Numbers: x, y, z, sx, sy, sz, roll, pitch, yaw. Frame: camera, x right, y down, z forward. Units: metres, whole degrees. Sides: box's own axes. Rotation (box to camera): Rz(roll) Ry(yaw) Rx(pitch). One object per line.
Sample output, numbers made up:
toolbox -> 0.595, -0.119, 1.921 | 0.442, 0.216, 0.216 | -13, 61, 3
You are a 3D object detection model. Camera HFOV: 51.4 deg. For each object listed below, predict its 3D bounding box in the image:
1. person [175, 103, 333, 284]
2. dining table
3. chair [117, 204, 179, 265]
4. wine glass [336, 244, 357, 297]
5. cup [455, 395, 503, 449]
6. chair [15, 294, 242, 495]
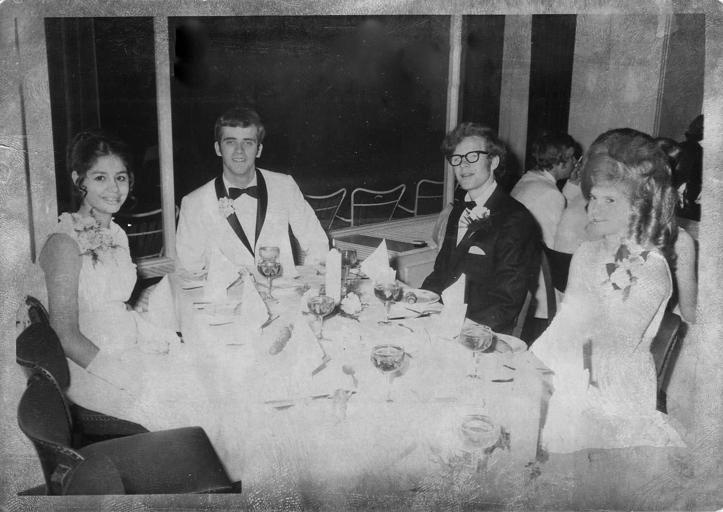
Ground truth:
person -> -0.431, -0.265, 2.963 | 0.545, 0.690, 0.388 | -9, 24, -19
dining table -> 0.106, 0.498, 2.999 | 1.005, 0.246, 0.960 | -1, 17, -9
chair -> -0.847, -0.099, 3.045 | 0.282, 0.265, 0.206 | -6, 23, -16
wine glass -> -0.050, 0.065, 2.989 | 0.078, 0.178, 0.080 | -1, 9, -1
cup -> 0.452, 0.687, 3.131 | 0.206, 0.191, 0.202 | -2, -5, 0
chair -> -0.940, 0.563, 2.962 | 0.751, 0.802, 0.443 | -5, 10, -25
